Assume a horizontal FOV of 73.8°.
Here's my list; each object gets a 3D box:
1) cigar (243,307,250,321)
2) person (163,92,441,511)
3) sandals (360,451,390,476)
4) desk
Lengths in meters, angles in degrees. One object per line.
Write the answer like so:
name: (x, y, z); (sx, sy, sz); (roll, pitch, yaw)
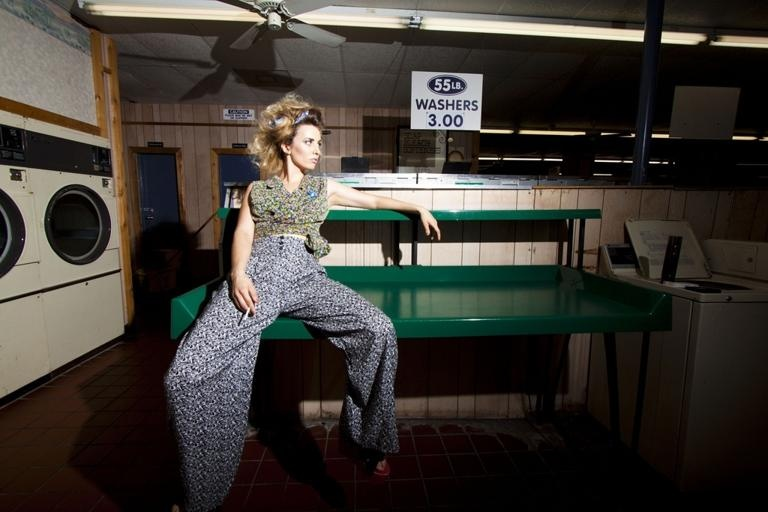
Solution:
cigar: (-0.938, 0.407, 3.493); (0.050, 0.065, 0.017); (17, -4, -2)
person: (-0.724, 0.271, 3.687); (1.596, 2.882, 0.773); (-2, 9, -9)
sandals: (-0.065, 1.513, 3.693); (0.146, 0.097, 0.252); (-7, 15, -41)
desk: (0.273, 0.492, 3.830); (3.404, 1.634, 1.470); (1, 8, -21)
